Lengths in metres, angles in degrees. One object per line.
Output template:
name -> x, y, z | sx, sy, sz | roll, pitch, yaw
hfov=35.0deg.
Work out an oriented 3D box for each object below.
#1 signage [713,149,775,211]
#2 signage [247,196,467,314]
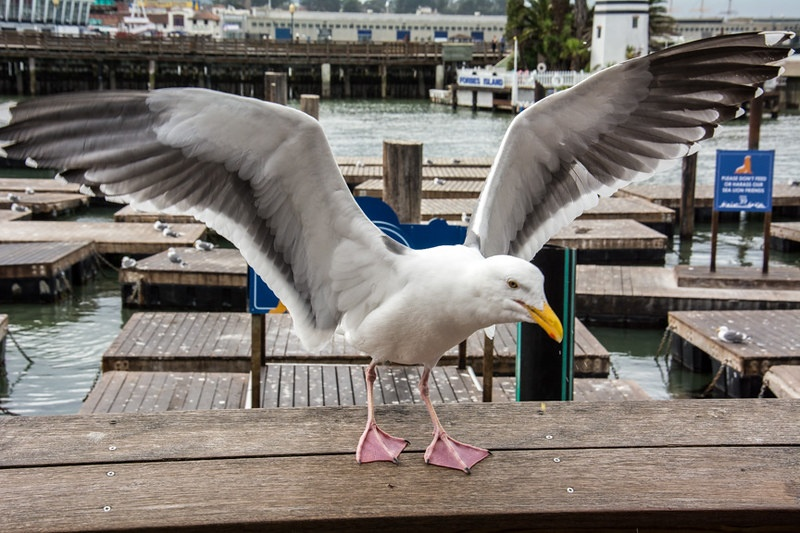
signage -> 4.952, -1.241, 18.386 | 1.042, 1.001, 0.104 | 1, 6, 7
signage -> -0.446, -0.083, 11.673 | 1.464, 0.790, 0.021 | -3, 23, -4
